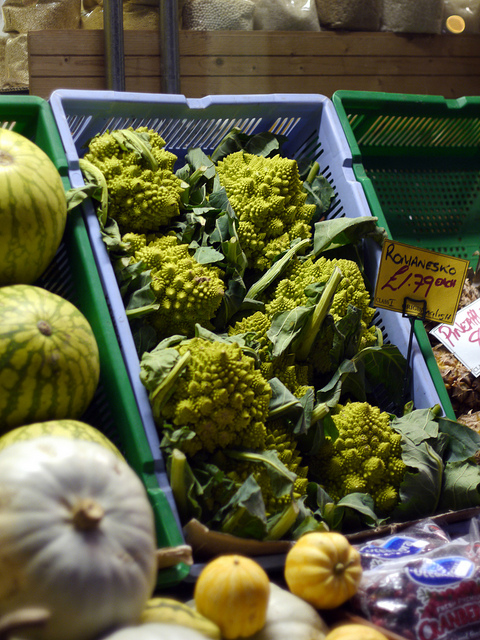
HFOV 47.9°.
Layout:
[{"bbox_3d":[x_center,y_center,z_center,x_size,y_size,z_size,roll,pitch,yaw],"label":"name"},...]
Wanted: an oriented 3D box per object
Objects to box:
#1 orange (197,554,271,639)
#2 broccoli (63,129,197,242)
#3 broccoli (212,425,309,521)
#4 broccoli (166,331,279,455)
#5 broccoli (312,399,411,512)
[{"bbox_3d":[-0.013,0.422,0.817,0.110,0.114,0.075,4,11,3],"label":"orange"},{"bbox_3d":[-0.248,-0.459,1.653,0.429,0.207,0.399,-1,7,3],"label":"broccoli"},{"bbox_3d":[0.022,0.369,1.250,0.187,0.087,0.183,45,33,11],"label":"broccoli"},{"bbox_3d":[-0.081,0.173,1.301,0.255,0.271,0.139,-25,1,-29],"label":"broccoli"},{"bbox_3d":[0.341,0.339,1.507,0.267,0.153,0.316,-11,27,-26],"label":"broccoli"}]
